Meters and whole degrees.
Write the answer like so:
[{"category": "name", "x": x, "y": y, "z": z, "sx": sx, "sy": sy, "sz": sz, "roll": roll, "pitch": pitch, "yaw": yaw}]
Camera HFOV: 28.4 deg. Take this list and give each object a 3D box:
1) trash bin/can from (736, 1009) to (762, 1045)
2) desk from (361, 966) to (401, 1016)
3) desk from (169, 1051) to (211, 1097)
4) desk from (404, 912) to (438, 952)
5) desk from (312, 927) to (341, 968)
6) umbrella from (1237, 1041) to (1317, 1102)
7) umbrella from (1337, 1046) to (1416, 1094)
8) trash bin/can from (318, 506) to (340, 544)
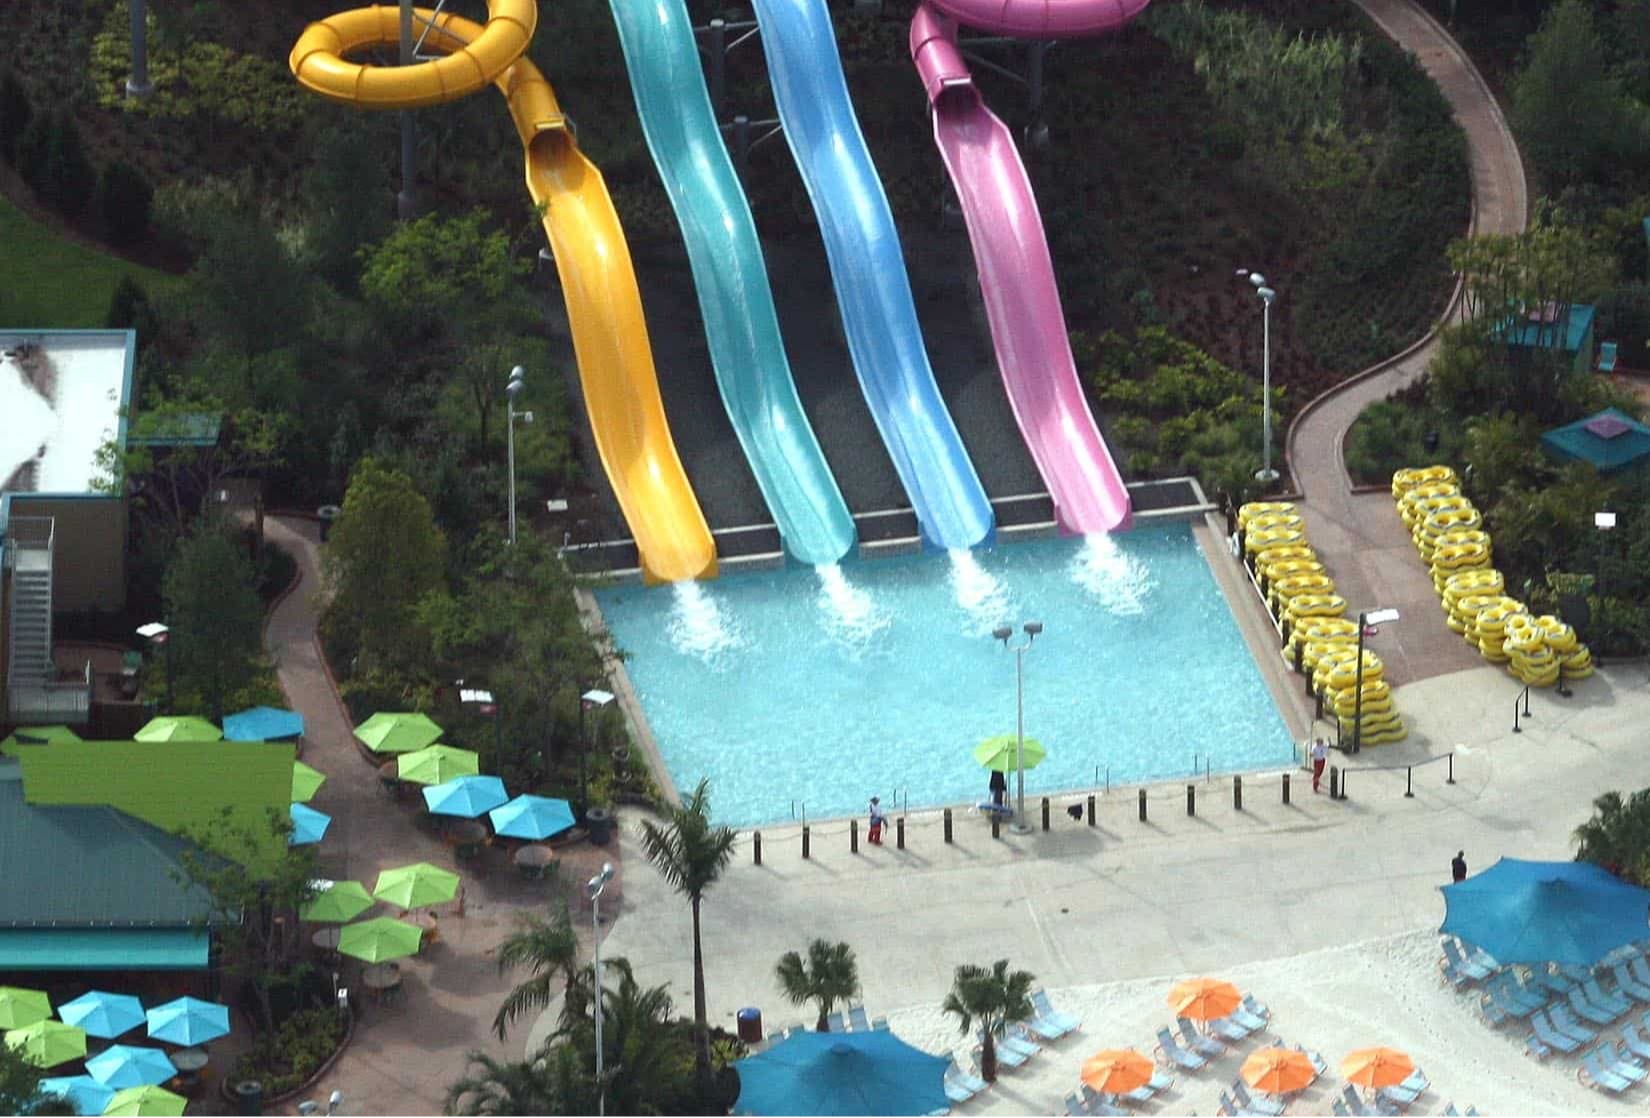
[{"category": "trash bin/can", "x": -2.340, "y": 14.230, "z": 99.432, "sx": 0.804, "sy": 1.002, "sz": 0.881, "roll": -2, "pitch": 22, "yaw": -4}, {"category": "desk", "x": -13.742, "y": 13.195, "z": 100.542, "sx": 1.127, "sy": 1.304, "sz": 1.270, "roll": -8, "pitch": 40, "yaw": -15}, {"category": "desk", "x": -19.071, "y": 15.499, "z": 97.889, "sx": 1.055, "sy": 1.369, "sz": 1.114, "roll": -5, "pitch": 16, "yaw": -22}, {"category": "desk", "x": -12.661, "y": 11.713, "z": 102.503, "sx": 0.935, "sy": 0.735, "sz": 0.905, "roll": 22, "pitch": 31, "yaw": 35}, {"category": "desk", "x": -15.573, "y": 12.032, "z": 101.457, "sx": 0.983, "sy": 0.769, "sz": 1.054, "roll": 19, "pitch": 37, "yaw": 20}, {"category": "umbrella", "x": 13.500, "y": 15.434, "z": 97.314, "sx": 2.202, "sy": 1.560, "sz": 1.707, "roll": -9, "pitch": 52, "yaw": -4}, {"category": "umbrella", "x": 16.445, "y": 15.400, "z": 97.155, "sx": 2.243, "sy": 1.405, "sz": 1.274, "roll": -9, "pitch": 52, "yaw": -4}, {"category": "trash bin/can", "x": -17.585, "y": -1.203, "z": 114.900, "sx": 0.825, "sy": 1.452, "sz": 0.910, "roll": 1, "pitch": 23, "yaw": -3}]
